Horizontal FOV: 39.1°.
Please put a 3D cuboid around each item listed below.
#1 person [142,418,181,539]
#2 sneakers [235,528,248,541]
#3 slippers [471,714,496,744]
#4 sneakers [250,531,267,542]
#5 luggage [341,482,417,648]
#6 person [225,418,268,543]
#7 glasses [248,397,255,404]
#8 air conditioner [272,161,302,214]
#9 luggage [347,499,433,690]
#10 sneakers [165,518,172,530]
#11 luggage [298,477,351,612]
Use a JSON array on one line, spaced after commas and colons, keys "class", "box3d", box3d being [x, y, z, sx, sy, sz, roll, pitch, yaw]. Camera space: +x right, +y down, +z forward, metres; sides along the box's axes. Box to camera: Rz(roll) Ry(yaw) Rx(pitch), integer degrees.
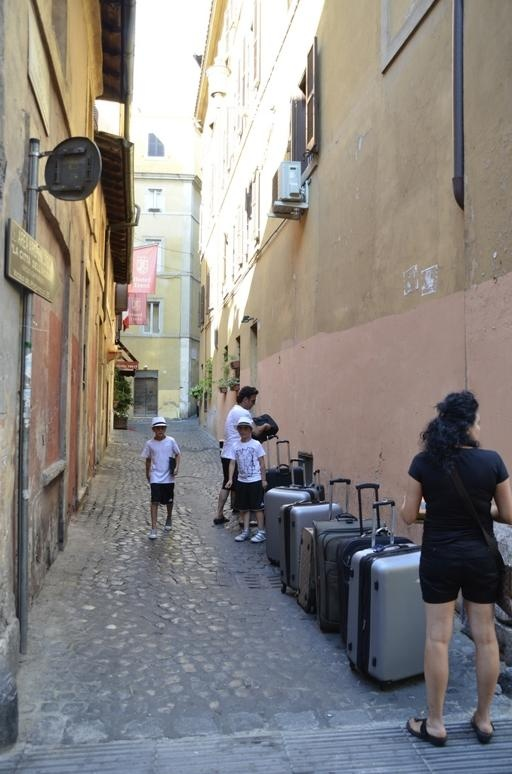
[{"class": "person", "box3d": [-1.090, 1.018, 8.302, 0.388, 1.318, 0.766, 1, -1, -10]}, {"class": "sneakers", "box3d": [-0.155, 1.638, 7.957, 0.062, 0.113, 0.206, -4, -11, 20]}, {"class": "slippers", "box3d": [1.002, 1.512, 3.168, 0.038, 0.063, 0.139, -2, -5, 0]}, {"class": "sneakers", "box3d": [0.034, 1.656, 7.951, 0.074, 0.132, 0.232, -1, -9, 10]}, {"class": "luggage", "box3d": [0.744, 1.150, 4.408, 0.322, 1.081, 0.270, -7, 4, -25]}, {"class": "person", "box3d": [-0.075, 1.040, 8.224, 0.368, 1.351, 0.809, 0, -1, -1]}, {"class": "glasses", "box3d": [-0.059, 0.173, 8.774, 0.043, 0.109, 0.063, 6, 5, 32]}, {"class": "air conditioner", "box3d": [0.430, -2.710, 9.693, 0.398, 0.604, 0.503, 0, -1, 2]}, {"class": "luggage", "box3d": [0.676, 1.079, 3.972, 0.330, 0.907, 0.260, -9, 15, -43]}, {"class": "sneakers", "box3d": [-1.033, 1.631, 8.533, 0.062, 0.124, 0.234, -1, -11, -2]}, {"class": "luggage", "box3d": [0.478, 1.185, 5.223, 0.276, 1.041, 0.296, 7, -3, -42]}]
